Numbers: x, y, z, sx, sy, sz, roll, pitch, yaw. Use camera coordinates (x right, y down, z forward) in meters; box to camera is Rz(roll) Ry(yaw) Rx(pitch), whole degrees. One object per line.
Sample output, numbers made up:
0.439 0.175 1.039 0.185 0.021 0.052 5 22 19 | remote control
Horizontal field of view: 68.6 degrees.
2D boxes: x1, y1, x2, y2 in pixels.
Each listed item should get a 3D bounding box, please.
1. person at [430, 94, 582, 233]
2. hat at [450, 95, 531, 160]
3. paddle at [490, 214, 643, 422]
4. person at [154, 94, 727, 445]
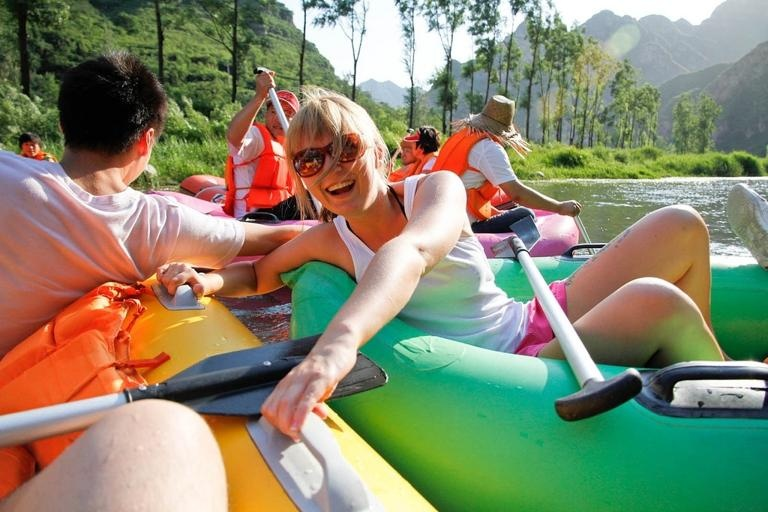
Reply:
0.985 -0.566 4.971 1.306 1.625 0.940 -1 25 0 | person
0.927 -1.134 4.773 0.713 0.323 0.536 21 5 7 | hat
0.652 0.177 2.183 0.291 0.153 0.949 -24 40 8 | paddle
0.478 0.035 2.297 1.805 0.922 1.365 -6 14 -14 | person
